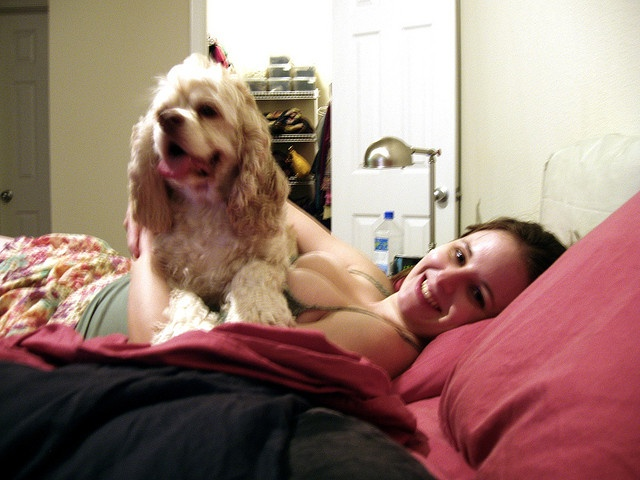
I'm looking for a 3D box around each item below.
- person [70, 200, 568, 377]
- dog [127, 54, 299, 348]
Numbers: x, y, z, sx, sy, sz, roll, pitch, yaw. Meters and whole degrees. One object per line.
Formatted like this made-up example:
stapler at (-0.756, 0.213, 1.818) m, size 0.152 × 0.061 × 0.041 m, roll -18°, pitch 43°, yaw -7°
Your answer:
person at (-0.136, 0.088, 1.606) m, size 1.280 × 0.493 × 0.876 m, roll 7°, pitch 4°, yaw -33°
dog at (-0.387, -0.115, 1.859) m, size 0.457 × 0.874 × 1.039 m, roll -7°, pitch -11°, yaw -2°
